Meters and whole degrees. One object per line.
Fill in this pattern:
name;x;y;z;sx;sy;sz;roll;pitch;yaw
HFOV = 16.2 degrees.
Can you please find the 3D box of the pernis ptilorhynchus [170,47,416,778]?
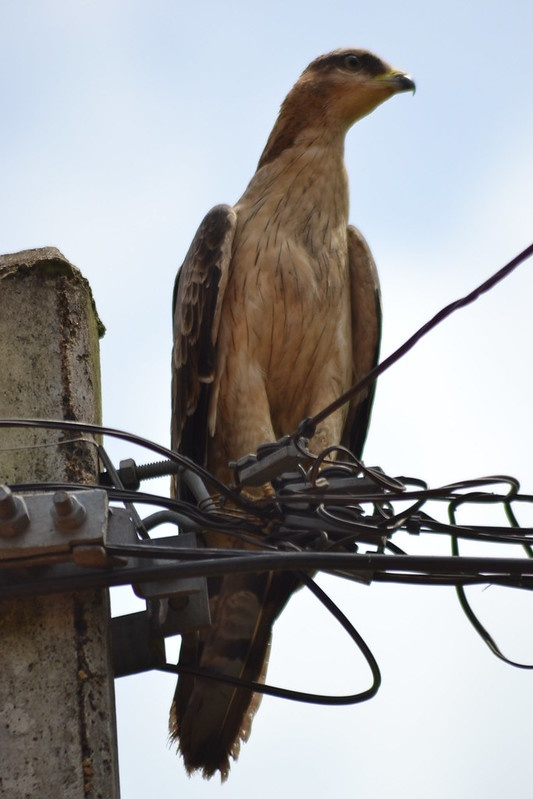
pernis ptilorhynchus;0.218;0.021;7.517;0.967;2.920;1.329;3;2;-14
